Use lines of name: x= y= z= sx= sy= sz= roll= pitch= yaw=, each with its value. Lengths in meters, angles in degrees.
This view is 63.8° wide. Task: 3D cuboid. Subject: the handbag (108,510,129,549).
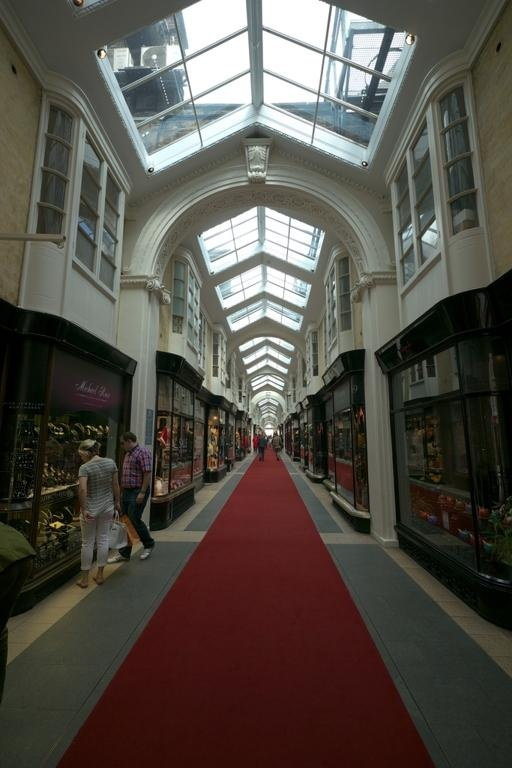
handbag: x=-1.338 y=1.422 z=4.009 sx=0.163 sy=0.577 sz=0.466 roll=4 pitch=-14 yaw=-24

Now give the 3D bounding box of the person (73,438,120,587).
person: x=-1.452 y=1.173 z=3.781 sx=0.339 sy=1.305 sz=0.565 roll=2 pitch=-6 yaw=-14
